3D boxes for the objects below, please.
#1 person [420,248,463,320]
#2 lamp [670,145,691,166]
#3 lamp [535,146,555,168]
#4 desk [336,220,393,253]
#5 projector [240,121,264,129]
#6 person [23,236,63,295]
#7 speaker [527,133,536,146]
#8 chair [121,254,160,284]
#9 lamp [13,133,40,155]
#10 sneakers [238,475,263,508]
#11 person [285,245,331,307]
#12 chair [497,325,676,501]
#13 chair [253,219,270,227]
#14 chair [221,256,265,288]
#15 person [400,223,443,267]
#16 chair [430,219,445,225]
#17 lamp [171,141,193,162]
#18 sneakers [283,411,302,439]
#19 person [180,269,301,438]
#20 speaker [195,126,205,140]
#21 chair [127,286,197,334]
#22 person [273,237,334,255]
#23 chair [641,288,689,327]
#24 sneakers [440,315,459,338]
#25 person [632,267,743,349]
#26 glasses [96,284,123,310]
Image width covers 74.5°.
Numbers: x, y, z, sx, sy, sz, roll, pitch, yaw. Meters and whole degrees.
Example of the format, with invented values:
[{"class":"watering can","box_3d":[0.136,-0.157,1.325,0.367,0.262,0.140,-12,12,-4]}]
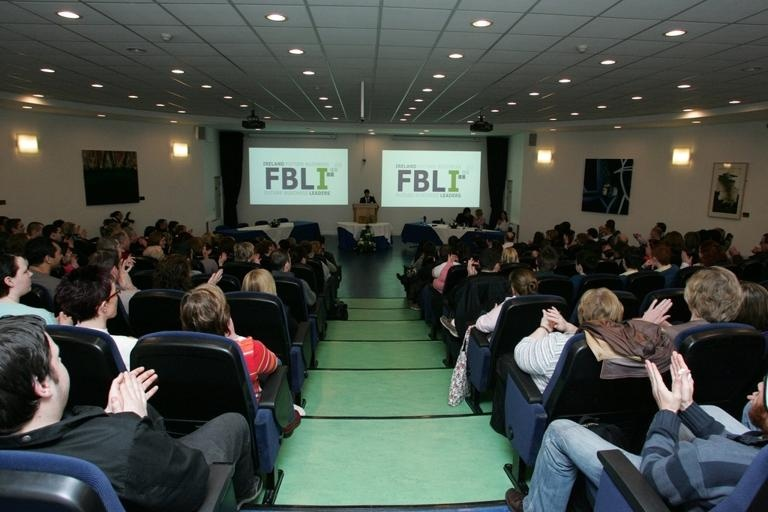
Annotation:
[{"class":"person","box_3d":[0.888,0.346,6.742,0.659,0.867,0.649,1,-9,44]},{"class":"lamp","box_3d":[6.928,-2.325,11.814,0.144,0.453,0.459,-1,4,-17]},{"class":"lamp","box_3d":[4.686,-2.852,14.475,0.481,0.476,0.486,2,25,37]},{"class":"desk","box_3d":[-0.525,-0.575,13.932,1.258,0.616,0.870,-1,10,-5]},{"class":"projector","box_3d":[-2.747,-2.748,10.568,0.368,0.169,0.326,8,17,25]},{"class":"person","box_3d":[-3.514,0.125,5.232,0.352,0.643,0.759,-1,11,-40]},{"class":"speaker","box_3d":[4.234,-3.291,14.340,0.290,0.340,0.109,0,5,-12]},{"class":"chair","box_3d":[-2.516,0.142,5.249,0.257,0.325,0.284,1,11,0]},{"class":"lamp","box_3d":[-7.170,-2.266,10.246,0.115,0.417,0.449,2,4,15]},{"class":"sneakers","box_3d":[-0.901,1.617,3.505,0.091,0.116,0.272,-1,1,6]},{"class":"person","box_3d":[-0.918,0.237,6.359,0.600,0.813,0.698,4,18,10]},{"class":"chair","box_3d":[1.270,1.096,3.961,0.957,1.327,1.222,2,6,-1]},{"class":"chair","box_3d":[-3.416,-0.938,14.267,0.309,0.358,0.277,10,14,40]},{"class":"chair","box_3d":[-1.567,0.142,5.636,0.311,0.416,0.341,3,16,0]},{"class":"person","box_3d":[0.896,-0.298,11.701,1.193,0.610,0.966,0,8,-15]},{"class":"chair","box_3d":[1.638,-1.031,15.172,0.398,0.195,0.548,0,-1,2]},{"class":"lamp","box_3d":[-5.396,-2.770,13.634,0.377,0.606,0.712,7,7,38]},{"class":"sneakers","box_3d":[-0.736,1.401,4.205,0.084,0.106,0.250,3,9,12]},{"class":"person","box_3d":[-1.109,0.591,3.607,0.680,0.987,0.842,-3,12,7]},{"class":"speaker","box_3d":[-5.005,-3.374,13.837,0.123,0.353,0.389,1,1,26]},{"class":"chair","box_3d":[-1.816,0.444,4.300,0.411,0.564,0.482,1,18,-8]},{"class":"person","box_3d":[-1.387,-0.192,8.706,0.716,0.283,0.719,1,3,-1]},{"class":"chair","box_3d":[2.383,0.432,4.282,0.274,0.364,0.299,-3,21,19]},{"class":"sneakers","box_3d":[0.724,0.752,5.550,0.091,0.111,0.253,36,4,-21]},{"class":"person","box_3d":[2.348,0.312,3.936,0.548,0.789,0.695,-3,15,7]},{"class":"glasses","box_3d":[-2.003,0.296,3.680,0.169,0.052,0.167,-10,8,5]}]
